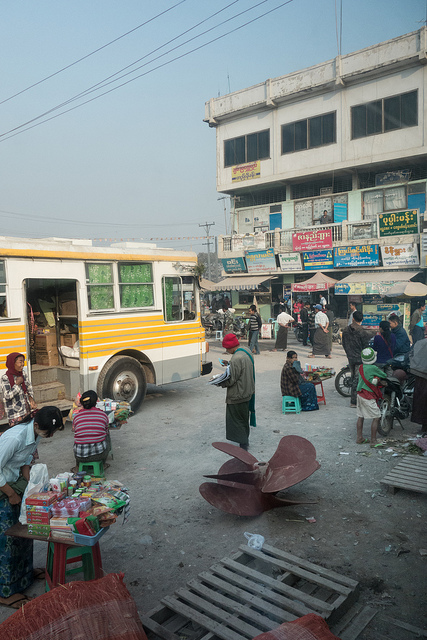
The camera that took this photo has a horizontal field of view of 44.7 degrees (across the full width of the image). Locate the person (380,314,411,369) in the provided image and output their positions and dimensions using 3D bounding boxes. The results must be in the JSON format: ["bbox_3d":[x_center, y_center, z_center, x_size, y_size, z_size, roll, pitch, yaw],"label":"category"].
[{"bbox_3d":[3.422,0.488,9.764,0.512,1.274,0.511,-12,22,-13],"label":"person"}]

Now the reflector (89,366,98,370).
[{"bbox_3d":[-2.047,0.821,8.904,0.024,0.066,0.191,-3,3,27],"label":"reflector"}]

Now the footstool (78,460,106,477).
[{"bbox_3d":[-1.439,1.735,6.146,0.245,0.211,0.255,-2,-2,0],"label":"footstool"}]

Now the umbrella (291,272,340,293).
[{"bbox_3d":[4.898,-1.723,24.674,1.253,0.655,1.303,0,9,27],"label":"umbrella"}]

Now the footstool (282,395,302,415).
[{"bbox_3d":[1.461,1.578,9.723,0.327,0.333,0.342,0,-5,2],"label":"footstool"}]

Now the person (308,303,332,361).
[{"bbox_3d":[3.516,0.377,17.120,0.653,1.714,1.574,-4,3,12],"label":"person"}]

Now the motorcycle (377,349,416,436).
[{"bbox_3d":[3.015,1.161,8.518,0.687,1.023,1.599,0,5,34],"label":"motorcycle"}]

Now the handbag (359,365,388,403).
[{"bbox_3d":[2.269,0.892,7.438,0.324,0.516,0.524,-4,3,21],"label":"handbag"}]

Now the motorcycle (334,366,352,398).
[{"bbox_3d":[2.747,1.325,10.960,0.128,0.699,0.636,-3,6,-33],"label":"motorcycle"}]

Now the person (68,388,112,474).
[{"bbox_3d":[-1.419,1.299,6.015,0.477,1.031,0.568,3,7,-13],"label":"person"}]

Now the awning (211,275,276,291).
[{"bbox_3d":[1.645,-2.114,29.697,3.297,0.590,1.828,-3,4,38],"label":"awning"}]

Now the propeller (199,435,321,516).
[{"bbox_3d":[0.503,1.668,5.599,1.236,0.556,0.998,-5,3,5],"label":"propeller"}]

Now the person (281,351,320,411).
[{"bbox_3d":[1.602,1.127,9.726,0.618,1.212,1.229,-4,3,18],"label":"person"}]
